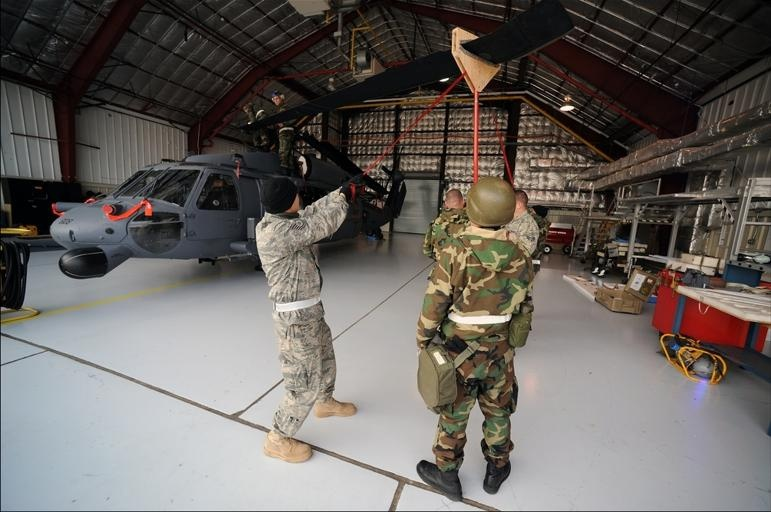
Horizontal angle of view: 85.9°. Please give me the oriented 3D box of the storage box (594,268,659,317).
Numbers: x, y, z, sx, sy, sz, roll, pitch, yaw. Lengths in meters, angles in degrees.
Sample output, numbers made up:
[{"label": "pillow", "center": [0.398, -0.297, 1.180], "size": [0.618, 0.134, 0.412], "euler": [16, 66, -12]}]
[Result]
[{"label": "storage box", "center": [3.957, 0.569, 6.805], "size": [0.736, 0.597, 0.733], "euler": [2, 10, -2]}]

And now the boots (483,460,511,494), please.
[{"label": "boots", "center": [1.044, 2.054, 3.950], "size": [0.166, 0.239, 0.360], "euler": [1, 26, 31]}]

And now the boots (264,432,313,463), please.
[{"label": "boots", "center": [-0.919, 1.871, 4.060], "size": [0.452, 0.267, 0.248], "euler": [1, 8, -3]}]

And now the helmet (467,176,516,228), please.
[{"label": "helmet", "center": [0.934, -0.461, 3.677], "size": [0.422, 0.346, 0.445], "euler": [6, 47, 9]}]

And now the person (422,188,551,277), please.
[{"label": "person", "center": [1.352, -0.372, 5.574], "size": [1.675, 0.890, 1.126], "euler": [7, 7, 16]}]

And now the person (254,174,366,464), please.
[{"label": "person", "center": [-0.831, 0.617, 4.145], "size": [0.641, 2.730, 0.787], "euler": [9, 9, 41]}]

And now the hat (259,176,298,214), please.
[{"label": "hat", "center": [-1.009, -0.596, 4.106], "size": [0.323, 0.360, 0.199], "euler": [2, 8, 5]}]

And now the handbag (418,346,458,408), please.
[{"label": "handbag", "center": [0.471, 1.118, 3.716], "size": [0.367, 0.582, 0.179], "euler": [4, 7, 9]}]

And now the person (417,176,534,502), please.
[{"label": "person", "center": [0.814, 0.779, 3.808], "size": [1.035, 2.964, 0.414], "euler": [3, 7, 4]}]

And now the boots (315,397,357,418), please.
[{"label": "boots", "center": [-0.533, 1.622, 4.487], "size": [0.430, 0.256, 0.186], "euler": [-3, 4, -8]}]
